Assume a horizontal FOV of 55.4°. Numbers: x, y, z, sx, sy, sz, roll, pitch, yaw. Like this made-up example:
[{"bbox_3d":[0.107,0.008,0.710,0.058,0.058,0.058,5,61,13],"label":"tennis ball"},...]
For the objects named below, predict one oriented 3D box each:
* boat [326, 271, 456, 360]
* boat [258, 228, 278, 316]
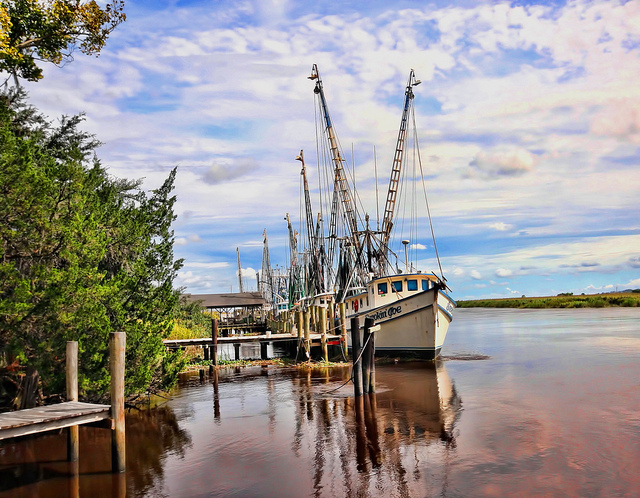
[{"bbox_3d":[3.921,3.996,37.879,4.905,5.052,13.145,-4,-5,-17],"label":"boat"},{"bbox_3d":[-8.007,3.252,93.634,2.627,12.338,12.781,-2,15,1],"label":"boat"}]
